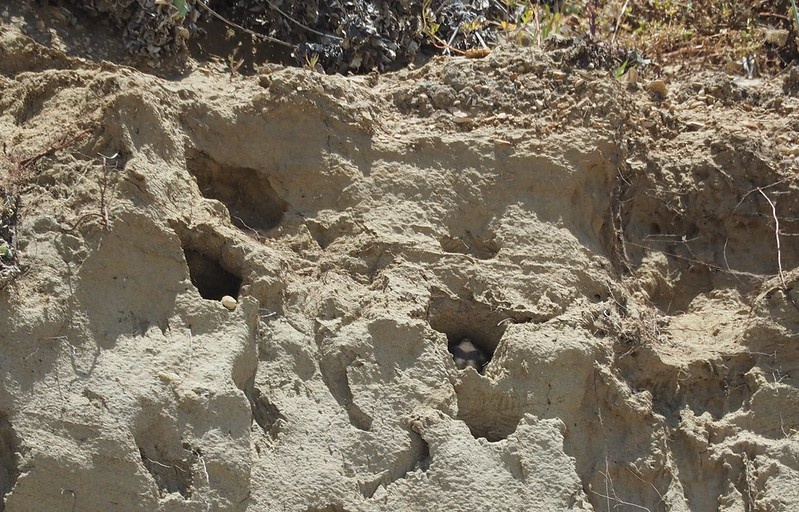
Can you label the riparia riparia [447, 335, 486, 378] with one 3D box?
[{"bbox_3d":[0.476,0.694,14.465,0.198,0.217,0.056,-13,49,-28],"label":"riparia riparia"}]
